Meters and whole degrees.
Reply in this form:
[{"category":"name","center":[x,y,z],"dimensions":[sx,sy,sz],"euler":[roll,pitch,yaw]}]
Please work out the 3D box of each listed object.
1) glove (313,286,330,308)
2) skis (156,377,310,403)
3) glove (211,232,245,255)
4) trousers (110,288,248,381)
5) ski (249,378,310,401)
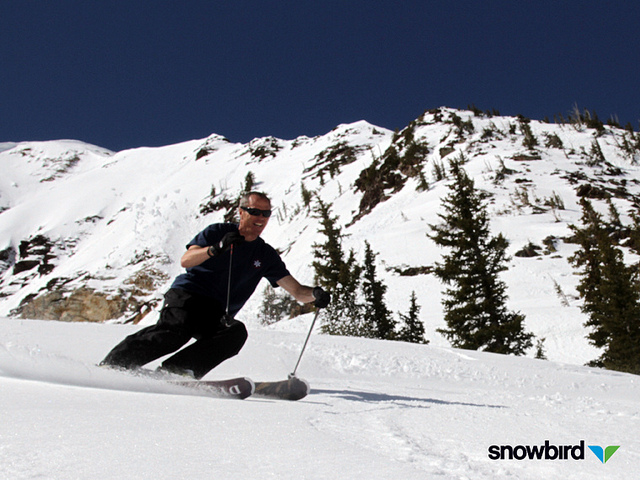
[{"category":"glove","center":[0.001,0.736,7.924],"dimensions":[0.277,0.254,0.199],"euler":[3,-3,30]},{"category":"skis","center":[-0.973,1.651,6.830],"dimensions":[1.936,0.216,0.263],"euler":[4,-6,-33]},{"category":"glove","center":[-1.087,0.053,7.344],"dimensions":[0.321,0.112,0.243],"euler":[-28,-18,-17]},{"category":"trousers","center":[-1.532,1.173,7.843],"dimensions":[0.993,0.803,1.538],"euler":[13,-41,-8]},{"category":"ski","center":[-0.560,1.705,7.286],"dimensions":[1.140,0.273,0.235],"euler":[-9,-5,45]}]
